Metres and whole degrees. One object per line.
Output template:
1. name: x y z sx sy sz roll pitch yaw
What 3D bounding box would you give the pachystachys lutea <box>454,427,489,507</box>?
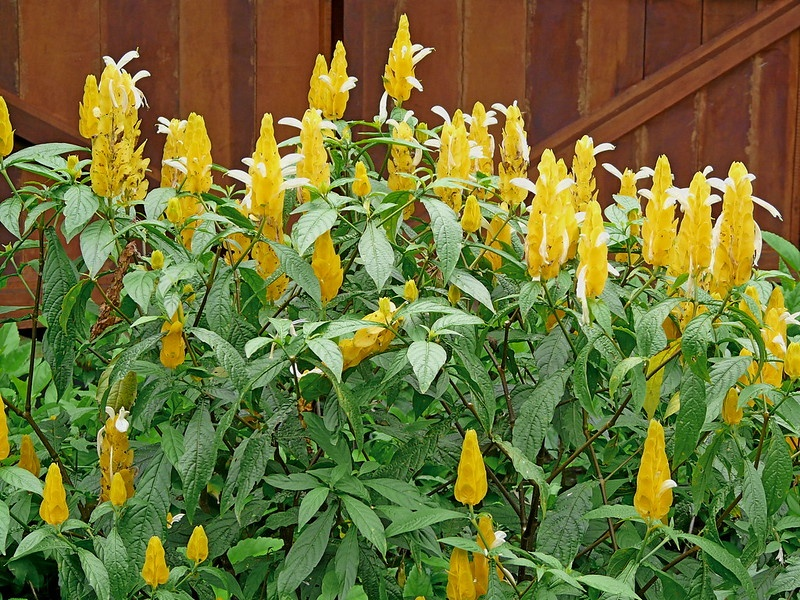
1. pachystachys lutea: 0.195 0.456 2.986 0.084 0.197 0.151 7 -1 4

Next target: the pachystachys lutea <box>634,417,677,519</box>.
1. pachystachys lutea: 0.673 0.456 2.947 0.121 0.309 0.107 13 29 27
